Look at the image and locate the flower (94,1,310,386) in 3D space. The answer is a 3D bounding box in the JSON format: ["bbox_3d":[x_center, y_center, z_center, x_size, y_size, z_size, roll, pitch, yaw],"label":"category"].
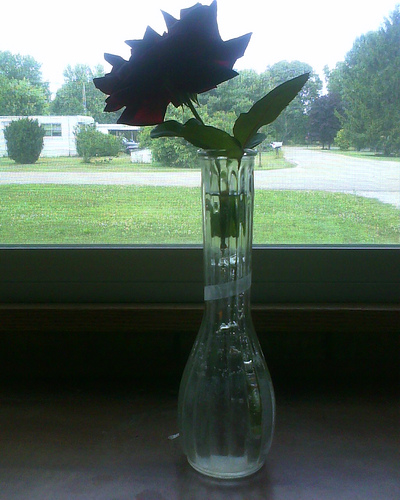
[{"bbox_3d":[0.003,-0.116,0.497,0.203,0.240,0.093,1,15,9],"label":"flower"}]
